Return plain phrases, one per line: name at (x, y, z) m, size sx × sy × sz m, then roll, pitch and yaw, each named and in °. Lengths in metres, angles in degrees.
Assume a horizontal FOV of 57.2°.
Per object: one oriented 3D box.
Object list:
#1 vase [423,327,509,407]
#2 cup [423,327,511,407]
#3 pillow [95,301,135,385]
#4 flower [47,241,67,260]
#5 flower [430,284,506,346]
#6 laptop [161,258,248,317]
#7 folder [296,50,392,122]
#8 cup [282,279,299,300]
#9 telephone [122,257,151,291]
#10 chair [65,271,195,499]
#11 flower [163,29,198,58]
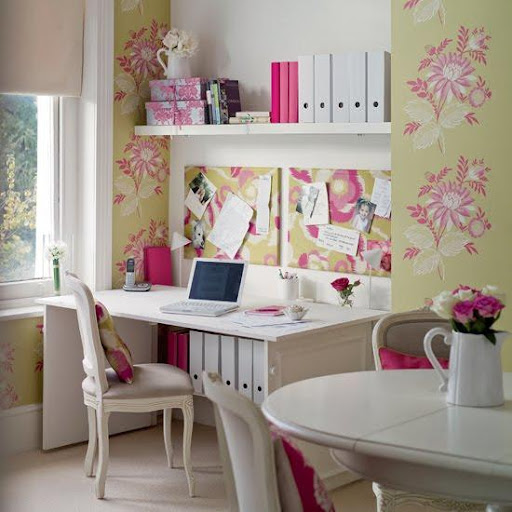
vase at (0.579, 0.318, 1.389) m, size 0.246 × 0.247 × 0.162 m, roll 0°, pitch 1°, yaw 4°
cup at (0.600, 0.324, 1.417) m, size 0.246 × 0.247 × 0.162 m, roll 0°, pitch 1°, yaw 4°
pillow at (-0.736, 0.444, 2.461) m, size 0.218 × 0.436 × 0.159 m, roll -2°, pitch 3°, yaw -29°
flower at (-1.318, -0.035, 3.111) m, size 0.105 × 0.117 × 0.108 m, roll -4°, pitch -4°, yaw 42°
flower at (0.614, 0.137, 1.368) m, size 0.151 × 0.178 × 0.169 m, roll -6°, pitch 18°, yaw 14°
laptop at (-0.279, 0.128, 2.710) m, size 0.336 × 0.270 × 0.353 m, roll 1°, pitch 3°, yaw 29°
folder at (0.494, -0.928, 2.579) m, size 0.473 × 0.370 × 0.263 m, roll 2°, pitch 2°, yaw 37°
cup at (0.218, 0.217, 2.990) m, size 0.123 × 0.148 × 0.104 m, roll 0°, pitch 1°, yaw 15°
telephone at (-0.830, 0.133, 3.264) m, size 0.183 × 0.216 × 0.199 m, roll -3°, pitch 1°, yaw 14°
chair at (-0.696, 0.693, 2.639) m, size 0.645 × 1.176 × 0.567 m, roll 1°, pitch -2°, yaw -20°
flower at (-0.524, -1.480, 3.223) m, size 0.188 × 0.219 × 0.173 m, roll -2°, pitch 3°, yaw -34°
